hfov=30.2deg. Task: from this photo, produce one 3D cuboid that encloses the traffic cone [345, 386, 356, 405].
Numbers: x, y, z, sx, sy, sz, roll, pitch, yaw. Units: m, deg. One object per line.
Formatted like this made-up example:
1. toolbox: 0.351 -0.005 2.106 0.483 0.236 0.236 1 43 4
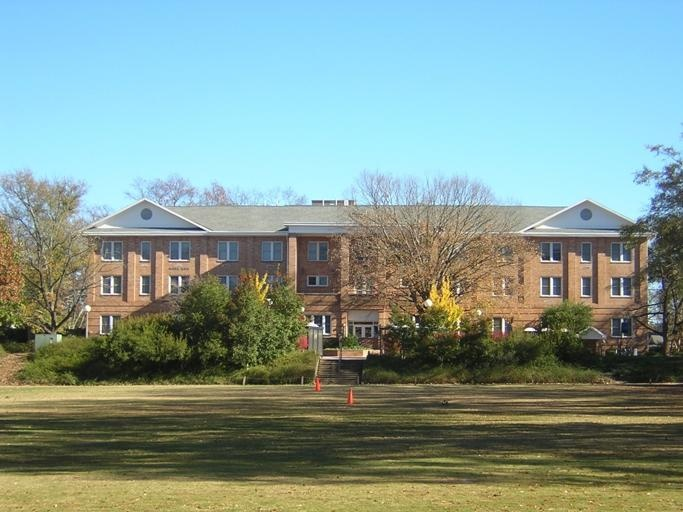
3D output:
1. traffic cone: 0.409 6.226 56.608 0.720 0.946 0.703 -1 -7 0
